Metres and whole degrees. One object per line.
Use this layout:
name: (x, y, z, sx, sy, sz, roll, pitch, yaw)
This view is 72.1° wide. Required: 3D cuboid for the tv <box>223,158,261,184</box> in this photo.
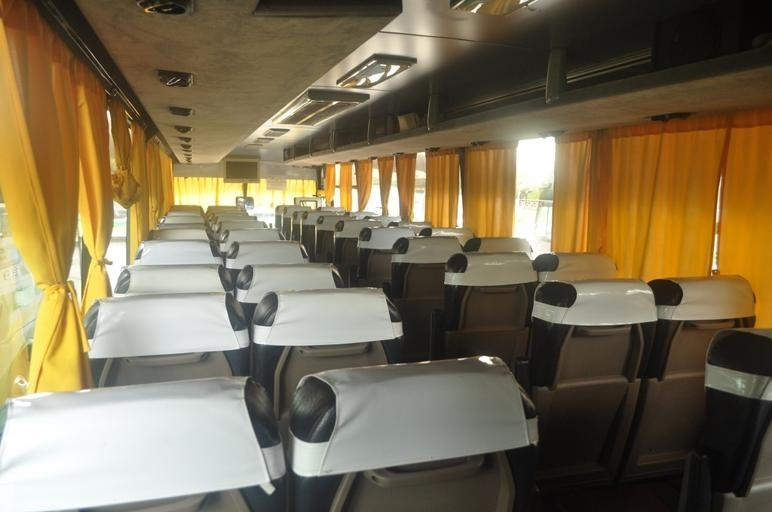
tv: (-4.339, -2.472, 15.971, 1.217, 0.799, 0.633, 0, 12, -13)
